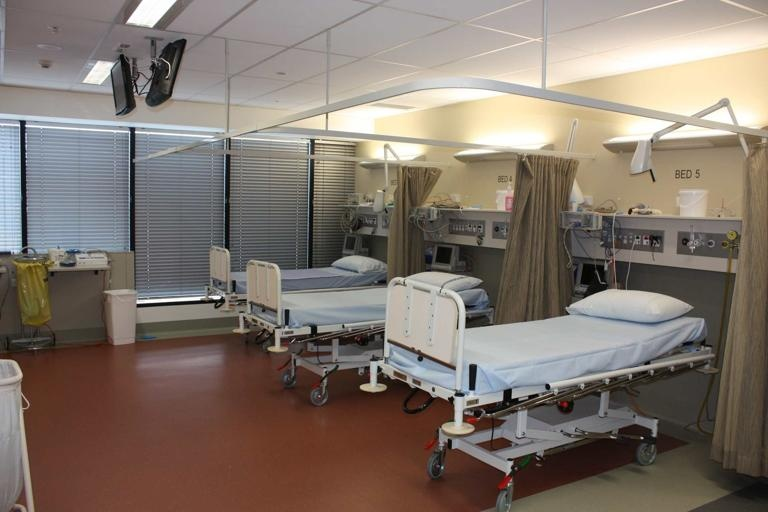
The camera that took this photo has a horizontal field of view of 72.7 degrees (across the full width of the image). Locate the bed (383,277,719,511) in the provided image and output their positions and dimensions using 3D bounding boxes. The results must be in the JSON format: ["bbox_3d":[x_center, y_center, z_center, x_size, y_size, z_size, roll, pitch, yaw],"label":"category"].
[{"bbox_3d":[1.328,0.873,4.679,2.796,1.661,1.570,-5,8,-31],"label":"bed"}]

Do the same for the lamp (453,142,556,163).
[{"bbox_3d":[1.322,-1.275,6.686,0.498,0.167,1.134,-2,10,-17],"label":"lamp"}]

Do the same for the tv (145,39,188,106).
[{"bbox_3d":[-2.021,-1.670,4.939,0.151,0.591,0.586,14,-34,-34],"label":"tv"}]

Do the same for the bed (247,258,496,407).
[{"bbox_3d":[-0.052,0.688,6.061,2.568,1.305,1.304,-5,10,-6],"label":"bed"}]

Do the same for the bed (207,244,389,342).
[{"bbox_3d":[-1.105,0.352,6.770,1.716,0.638,1.589,-2,4,-43],"label":"bed"}]

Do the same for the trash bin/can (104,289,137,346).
[{"bbox_3d":[-3.648,0.858,7.235,0.375,0.733,0.234,-2,12,-20],"label":"trash bin/can"}]

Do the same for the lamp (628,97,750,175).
[{"bbox_3d":[2.705,-0.998,4.567,0.812,0.726,1.609,8,12,31],"label":"lamp"}]
